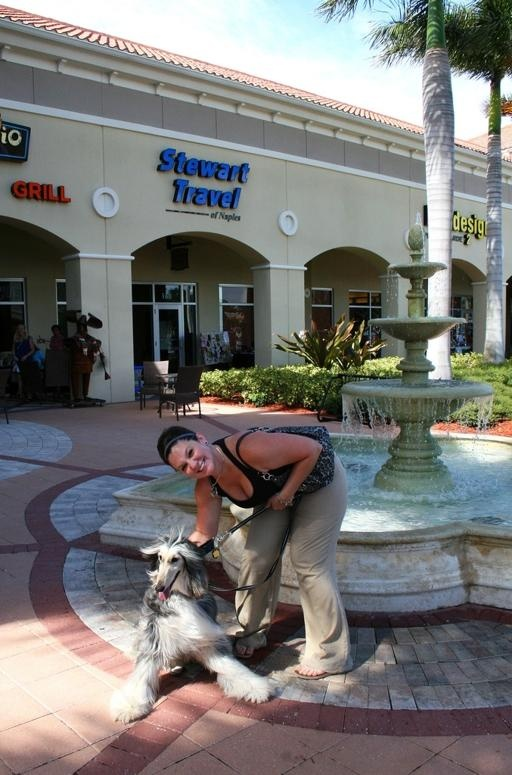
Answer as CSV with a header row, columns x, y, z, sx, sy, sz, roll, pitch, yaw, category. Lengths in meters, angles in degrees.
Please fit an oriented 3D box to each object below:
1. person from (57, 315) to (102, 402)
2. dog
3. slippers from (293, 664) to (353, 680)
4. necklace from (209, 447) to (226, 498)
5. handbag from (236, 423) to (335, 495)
x,y,z,sx,sy,sz,roll,pitch,yaw,category
-3.774,-0.569,12.842,0.745,1.923,0.789,-4,5,-18,person
-0.333,0.934,2.480,0.556,0.606,0.975,-3,-10,-15,dog
0.271,1.189,2.490,0.195,0.050,0.076,5,-9,-9,slippers
-0.158,0.336,2.334,0.050,0.229,0.163,-3,4,-4,necklace
0.066,0.299,2.569,0.536,0.285,0.396,3,-5,-20,handbag
